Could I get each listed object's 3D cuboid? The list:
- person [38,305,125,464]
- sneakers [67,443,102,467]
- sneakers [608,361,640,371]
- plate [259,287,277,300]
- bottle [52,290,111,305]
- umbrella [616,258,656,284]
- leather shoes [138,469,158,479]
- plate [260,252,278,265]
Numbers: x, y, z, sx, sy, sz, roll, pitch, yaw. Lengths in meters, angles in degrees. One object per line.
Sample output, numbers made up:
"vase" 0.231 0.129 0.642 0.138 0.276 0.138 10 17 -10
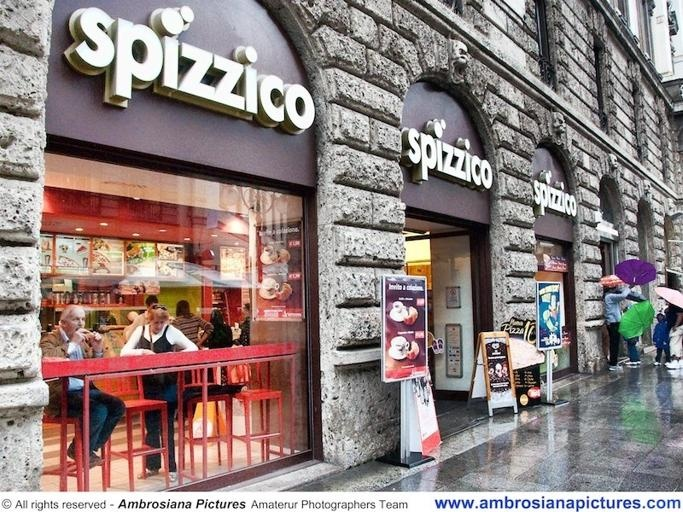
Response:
"person" -2.036 1.019 4.009 0.138 1.270 0.619 -4 -6 35
"sneakers" -2.011 1.560 3.998 0.289 0.215 0.103 18 -8 -34
"sneakers" 6.586 2.558 11.831 0.486 0.221 0.156 -10 -6 23
"plate" -0.781 0.398 5.394 0.043 0.121 0.209 -5 -6 41
"bottle" -2.086 0.336 4.061 0.453 0.121 0.109 2 -6 -33
"umbrella" 7.259 0.384 12.583 0.740 0.802 0.730 7 -1 37
"leather shoes" -1.639 1.845 4.309 0.155 0.069 0.050 13 -12 -43
"plate" -0.779 0.020 5.404 0.039 0.129 0.201 -5 -6 41
